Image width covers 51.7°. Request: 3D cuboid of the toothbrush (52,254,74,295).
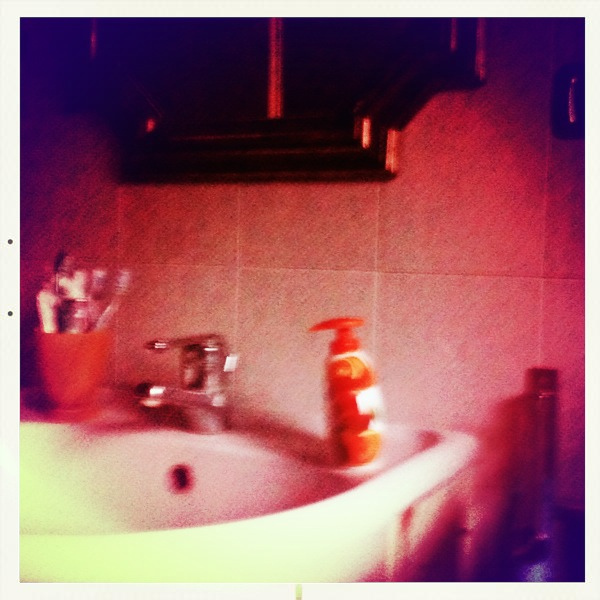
[{"bbox_3d":[-0.558,-0.062,1.439,0.051,0.085,0.020,32,7,22],"label":"toothbrush"}]
